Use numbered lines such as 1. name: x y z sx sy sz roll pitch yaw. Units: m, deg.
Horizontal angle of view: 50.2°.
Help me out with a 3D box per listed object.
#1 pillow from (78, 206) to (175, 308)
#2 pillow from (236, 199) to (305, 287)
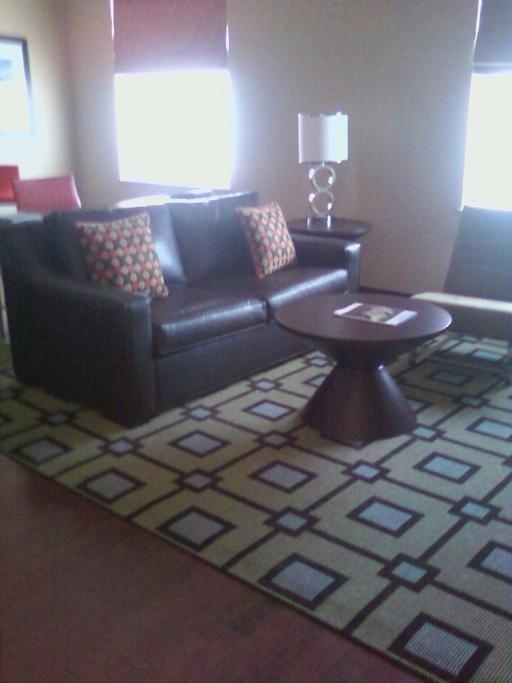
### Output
1. pillow: -0.622 -0.397 2.575 0.130 0.413 0.437 -16 -2 43
2. pillow: 0.034 -0.558 3.241 0.130 0.412 0.439 -16 5 35
